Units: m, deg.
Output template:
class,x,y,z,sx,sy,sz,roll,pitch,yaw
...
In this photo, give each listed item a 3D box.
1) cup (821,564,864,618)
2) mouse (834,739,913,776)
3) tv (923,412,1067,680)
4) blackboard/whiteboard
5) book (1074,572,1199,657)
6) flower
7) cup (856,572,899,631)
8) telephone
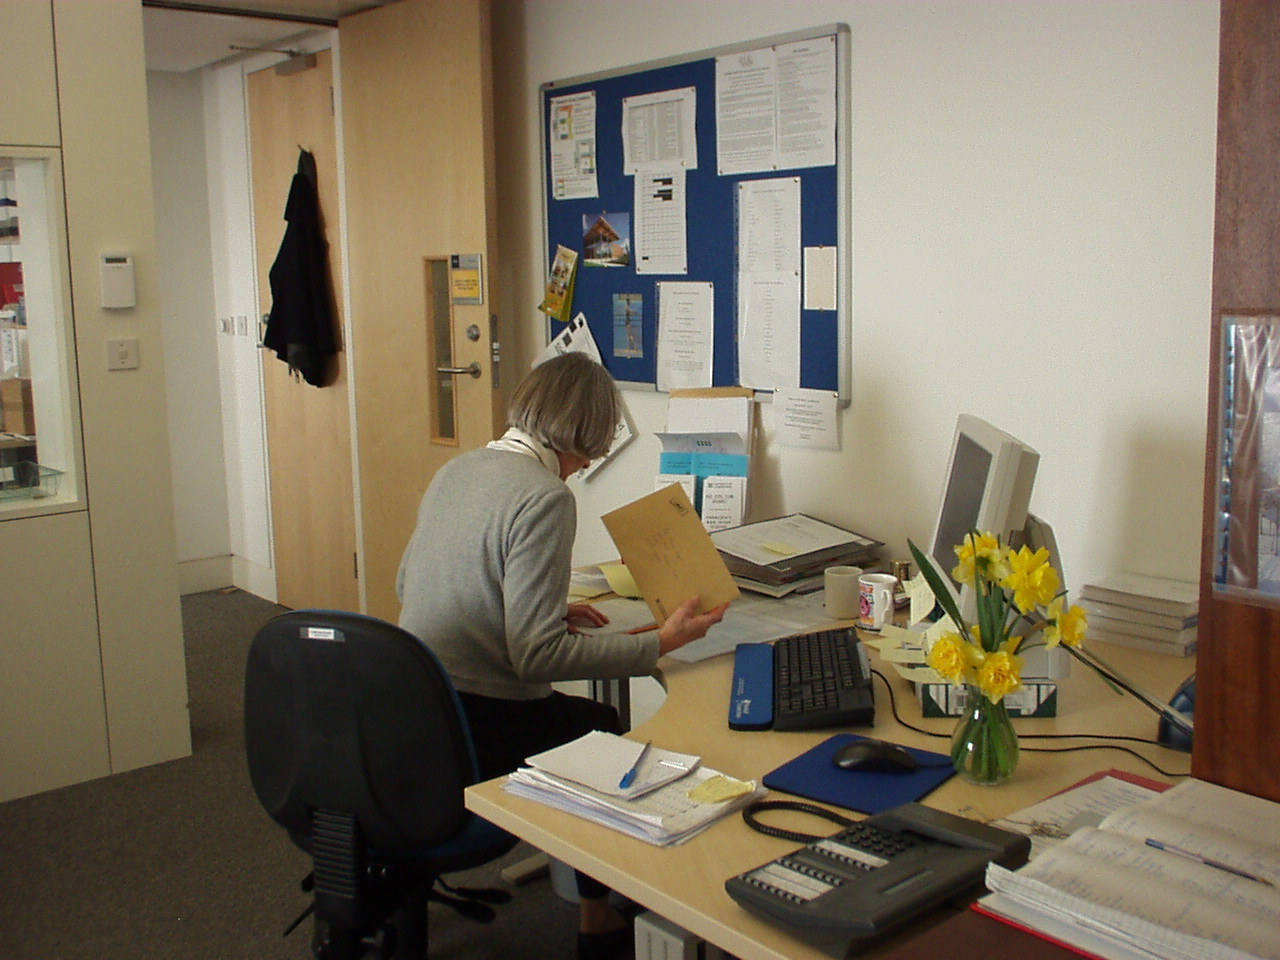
class,x,y,z,sx,sy,sz,roll,pitch,yaw
cup,0.473,0.269,2.363,0.083,0.116,0.111,1,3,9
mouse,0.379,0.452,1.627,0.098,0.035,0.057,-3,7,-4
tv,0.655,0.127,1.816,0.206,0.492,0.474,-1,7,5
blackboard/whiteboard,0.198,-0.771,2.953,1.203,1.080,0.049,5,8,42
book,1.106,0.264,2.162,0.147,0.094,0.181,-5,8,-37
flower,0.585,0.156,1.714,0.332,0.359,0.297,-6,8,-29
cup,0.530,0.270,2.239,0.082,0.128,0.130,1,7,-1
telephone,0.334,0.536,1.367,0.402,0.073,0.214,-9,14,-35
